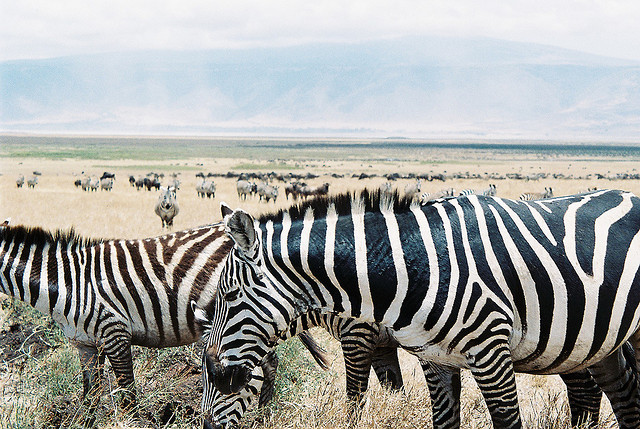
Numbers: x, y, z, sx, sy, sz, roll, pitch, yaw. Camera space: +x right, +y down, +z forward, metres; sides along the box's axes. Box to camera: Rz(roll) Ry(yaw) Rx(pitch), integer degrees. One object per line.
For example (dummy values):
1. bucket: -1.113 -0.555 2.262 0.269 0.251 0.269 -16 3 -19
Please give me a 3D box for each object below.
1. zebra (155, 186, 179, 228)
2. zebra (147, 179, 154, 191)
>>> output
1. zebra: -4.547 -0.154 22.806 0.721 1.422 2.068 1 -3 -11
2. zebra: -8.126 -1.452 36.995 0.312 0.535 0.913 -4 14 -12
